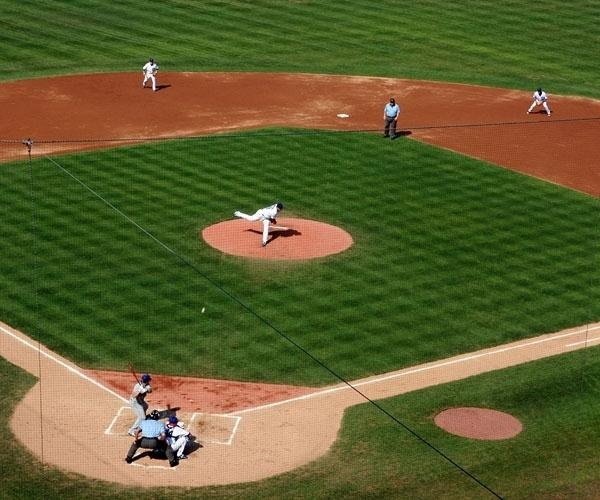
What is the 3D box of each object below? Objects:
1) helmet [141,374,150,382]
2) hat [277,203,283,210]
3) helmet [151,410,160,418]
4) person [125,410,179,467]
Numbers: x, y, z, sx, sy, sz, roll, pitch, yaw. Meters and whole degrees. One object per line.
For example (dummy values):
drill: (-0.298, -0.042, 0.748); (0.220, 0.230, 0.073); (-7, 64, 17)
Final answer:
helmet: (-3.858, 3.260, 29.740); (0.209, 0.176, 0.209); (14, 18, 8)
hat: (-0.615, -1.373, 37.098); (0.192, 0.181, 0.206); (16, 15, 7)
helmet: (-3.596, 4.118, 29.387); (0.196, 0.167, 0.222); (2, 14, -6)
person: (-3.658, 4.759, 29.215); (1.551, 1.198, 0.806); (5, -16, -1)
